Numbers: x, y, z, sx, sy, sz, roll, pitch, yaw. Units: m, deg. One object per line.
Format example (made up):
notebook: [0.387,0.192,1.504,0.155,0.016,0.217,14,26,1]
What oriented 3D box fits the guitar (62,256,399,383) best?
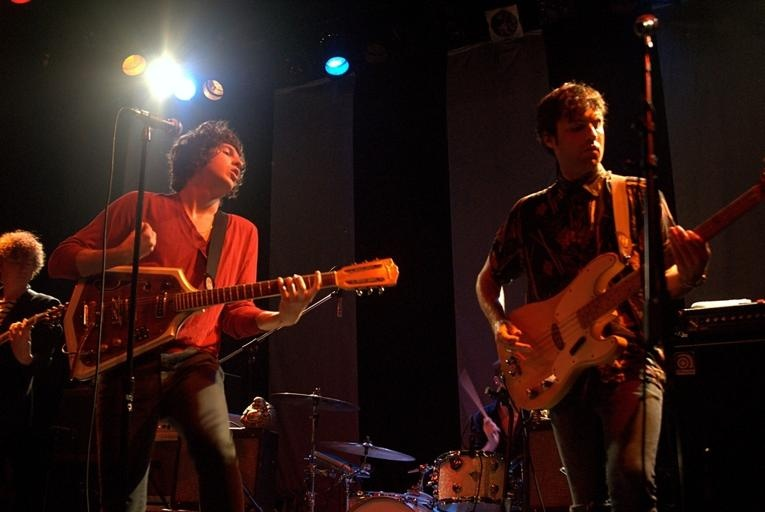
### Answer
guitar: [-1.223,0.473,5.714,2.879,1.047,0.388,-6,-16,-3]

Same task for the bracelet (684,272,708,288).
bracelet: [2.072,0.164,4.608,0.105,0.080,0.106,0,3,24]

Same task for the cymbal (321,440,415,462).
cymbal: [-0.201,2.270,8.142,1.008,0.257,0.998,2,-23,-5]

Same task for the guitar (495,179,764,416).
guitar: [1.338,0.258,5.024,1.113,1.591,0.246,-20,-30,40]
